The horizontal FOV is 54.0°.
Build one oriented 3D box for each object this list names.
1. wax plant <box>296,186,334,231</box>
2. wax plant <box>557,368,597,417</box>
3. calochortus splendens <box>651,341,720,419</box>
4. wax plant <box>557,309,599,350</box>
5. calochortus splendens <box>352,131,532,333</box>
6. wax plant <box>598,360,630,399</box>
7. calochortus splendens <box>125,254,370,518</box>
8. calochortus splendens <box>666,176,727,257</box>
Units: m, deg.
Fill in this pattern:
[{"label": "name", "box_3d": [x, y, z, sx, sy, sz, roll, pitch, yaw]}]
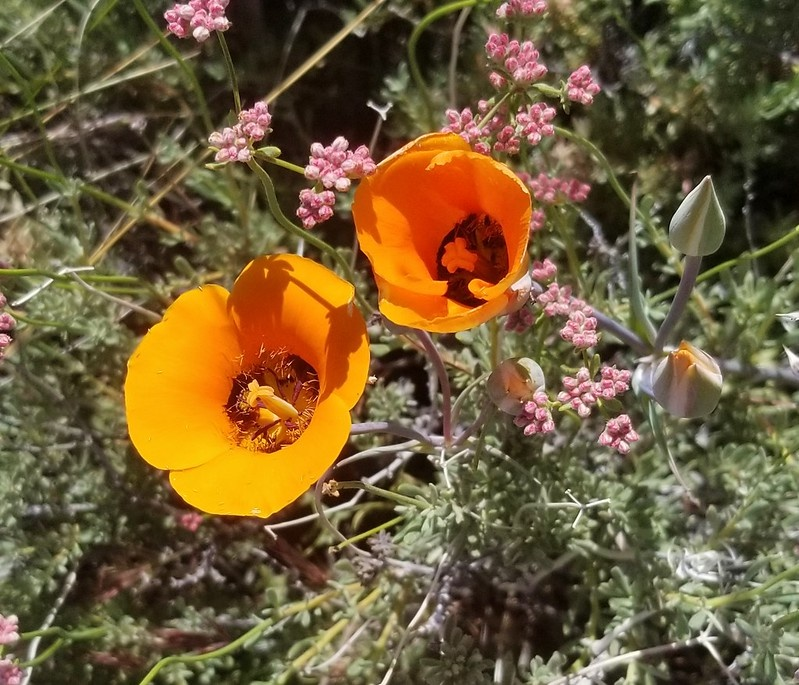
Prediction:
[{"label": "wax plant", "box_3d": [-0.179, -0.273, 1.666, 0.066, 0.175, 0.092, 10, 77, -5]}, {"label": "wax plant", "box_3d": [0.394, 0.097, 1.705, 0.048, 0.096, 0.099, -33, 109, -54]}, {"label": "calochortus splendens", "box_3d": [0.576, 0.076, 1.588, 0.103, 0.147, 0.103, -40, 47, -11]}, {"label": "wax plant", "box_3d": [0.391, -0.038, 1.714, 0.077, 0.059, 0.087, 10, 100, -1]}, {"label": "calochortus splendens", "box_3d": [0.101, -0.244, 1.624, 0.418, 0.328, 0.465, 10, 110, 21]}, {"label": "wax plant", "box_3d": [0.458, 0.078, 1.691, 0.069, 0.041, 0.070, -32, 68, -1]}, {"label": "calochortus splendens", "box_3d": [-0.310, 0.081, 1.674, 0.477, 0.346, 0.541, 41, 77, 2]}, {"label": "calochortus splendens", "box_3d": [0.591, -0.249, 1.554, 0.092, 0.091, 0.167, 7, 115, 24]}]
